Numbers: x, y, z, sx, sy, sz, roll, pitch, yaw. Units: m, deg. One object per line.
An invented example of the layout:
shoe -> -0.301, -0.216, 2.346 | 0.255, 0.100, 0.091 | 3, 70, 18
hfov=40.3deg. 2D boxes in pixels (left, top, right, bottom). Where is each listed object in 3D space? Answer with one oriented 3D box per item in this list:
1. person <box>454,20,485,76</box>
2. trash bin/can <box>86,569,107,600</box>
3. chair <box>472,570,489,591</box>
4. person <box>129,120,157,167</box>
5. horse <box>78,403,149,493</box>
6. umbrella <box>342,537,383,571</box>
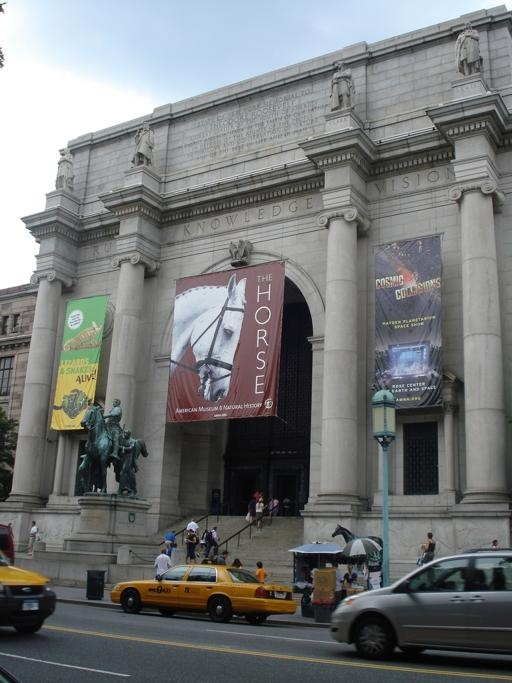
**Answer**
person -> 7.821, -10.740, 25.814 | 0.804, 2.543, 0.627 | -2, -17, 12
trash bin/can -> -4.202, 6.491, 18.464 | 0.579, 0.730, 0.572 | 12, -19, -32
chair -> 2.735, 2.937, 8.520 | 0.201, 0.314, 0.201 | -3, -20, 12
person -> -5.479, -9.508, 34.065 | 0.830, 2.792, 1.011 | 6, -17, -13
horse -> -5.403, 3.961, 26.373 | 1.343, 3.586, 3.849 | -7, -20, 31
umbrella -> 2.799, 5.641, 17.967 | 1.143, 0.842, 1.070 | 1, 4, -5
